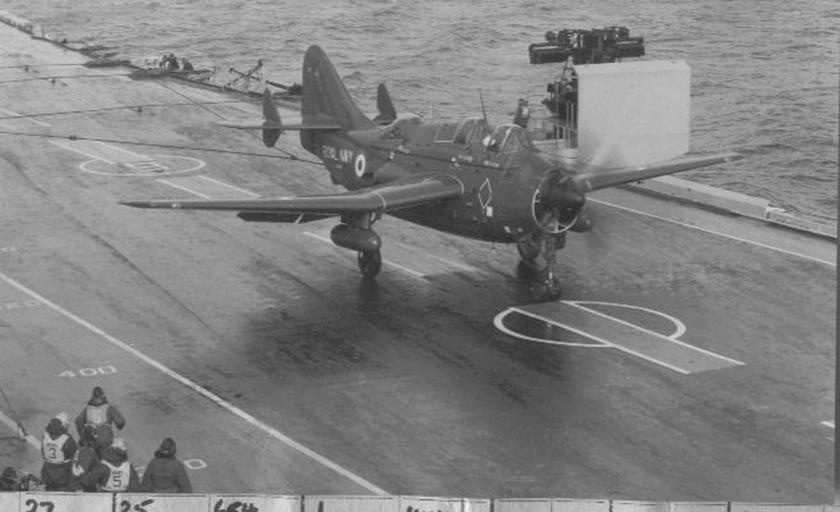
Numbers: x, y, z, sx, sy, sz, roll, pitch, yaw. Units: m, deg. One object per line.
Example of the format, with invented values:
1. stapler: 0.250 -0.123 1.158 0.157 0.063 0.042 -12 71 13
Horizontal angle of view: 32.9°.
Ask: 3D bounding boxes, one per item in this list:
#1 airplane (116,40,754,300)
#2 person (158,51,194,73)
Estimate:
1. airplane: -1.026 -3.278 58.925 20.232 4.494 14.287 -10 21 -38
2. person: -11.334 -8.798 65.633 1.628 0.437 0.849 10 20 25
